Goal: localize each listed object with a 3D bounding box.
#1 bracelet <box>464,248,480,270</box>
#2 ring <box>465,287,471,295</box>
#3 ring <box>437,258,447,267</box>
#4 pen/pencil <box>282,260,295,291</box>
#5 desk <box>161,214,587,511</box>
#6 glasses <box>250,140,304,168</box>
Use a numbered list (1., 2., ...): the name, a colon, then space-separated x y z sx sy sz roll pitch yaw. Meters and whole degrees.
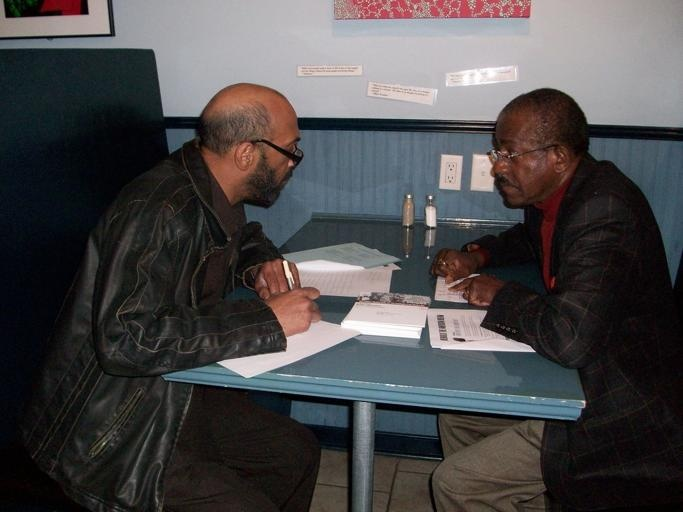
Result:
1. bracelet: 0.481 0.014 1.820 0.063 0.068 0.053 -3 7 -29
2. ring: 0.385 0.109 1.525 0.013 0.021 0.017 -12 31 -13
3. ring: 0.353 0.024 1.750 0.034 0.012 0.033 -8 23 4
4. pen/pencil: -0.164 0.066 1.548 0.023 0.094 0.023 -25 0 32
5. desk: 0.188 0.522 1.949 0.972 1.021 1.368 1 21 9
6. glasses: -0.184 -0.324 1.547 0.100 0.028 0.095 23 -2 -22
